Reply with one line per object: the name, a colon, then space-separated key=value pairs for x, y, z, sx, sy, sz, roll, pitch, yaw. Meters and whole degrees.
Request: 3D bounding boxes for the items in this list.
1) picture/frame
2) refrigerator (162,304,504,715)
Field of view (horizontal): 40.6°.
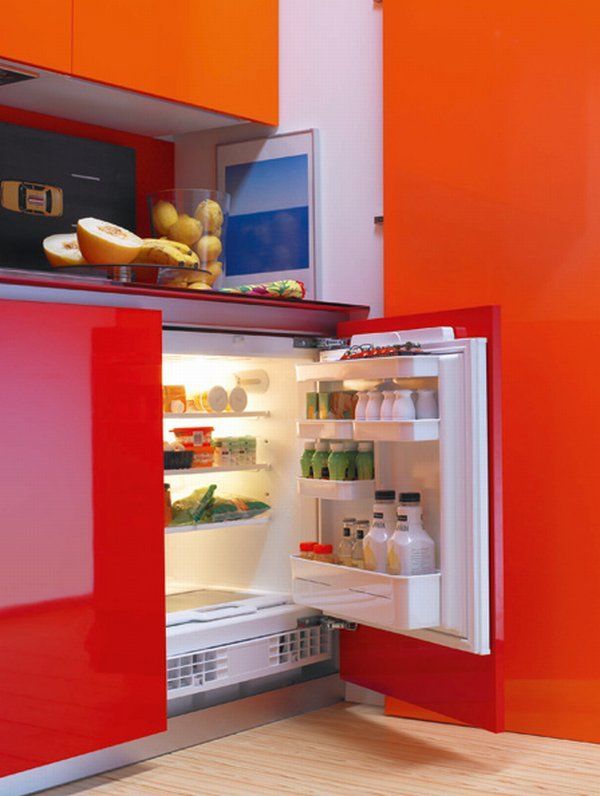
picture/frame: x=-0.099 y=-0.585 z=2.613 sx=0.380 sy=0.462 sz=0.040 roll=0 pitch=1 yaw=31
refrigerator: x=0.173 y=0.227 z=2.100 sx=0.875 sy=0.973 sz=0.597 roll=-5 pitch=9 yaw=-42
